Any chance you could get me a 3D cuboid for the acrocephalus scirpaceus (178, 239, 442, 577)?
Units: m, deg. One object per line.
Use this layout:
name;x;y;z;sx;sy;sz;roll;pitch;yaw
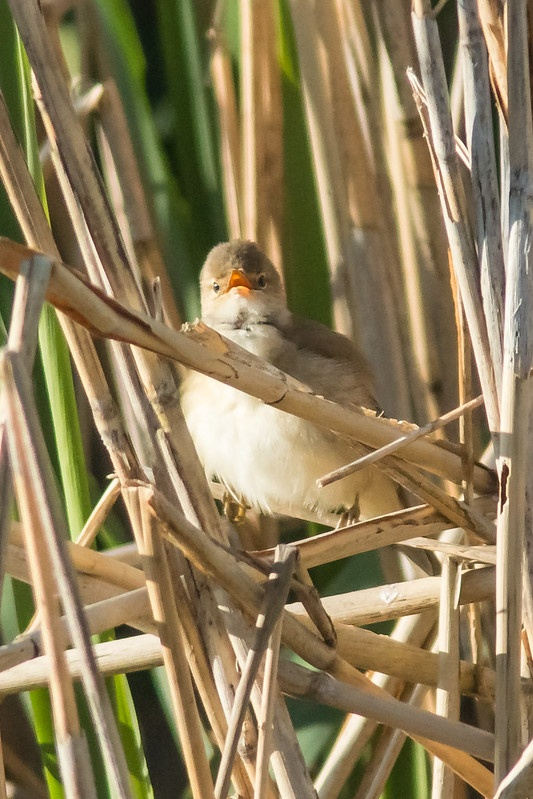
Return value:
acrocephalus scirpaceus;0.087;0.026;2.226;0.334;0.573;0.559;-8;-3;32
